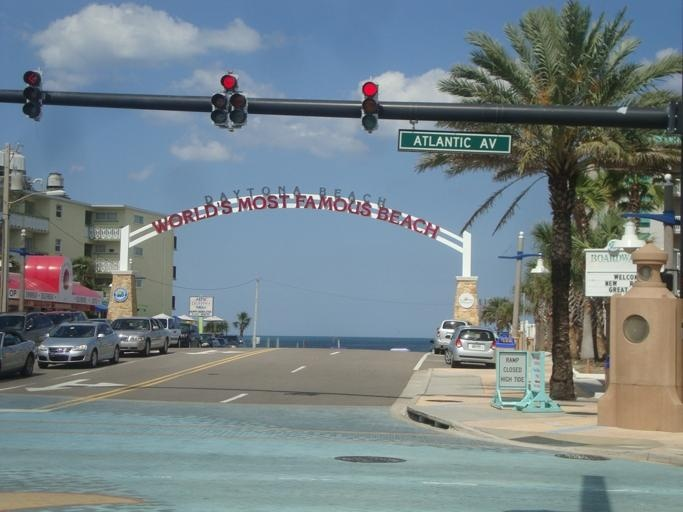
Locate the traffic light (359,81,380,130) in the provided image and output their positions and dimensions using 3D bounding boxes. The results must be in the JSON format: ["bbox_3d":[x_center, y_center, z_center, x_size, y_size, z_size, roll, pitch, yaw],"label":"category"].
[{"bbox_3d":[0.678,-3.462,20.481,0.411,1.298,0.859,0,-9,2],"label":"traffic light"}]

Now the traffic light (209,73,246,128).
[{"bbox_3d":[-2.677,-3.691,20.936,0.881,1.408,0.534,1,-9,-4],"label":"traffic light"}]
